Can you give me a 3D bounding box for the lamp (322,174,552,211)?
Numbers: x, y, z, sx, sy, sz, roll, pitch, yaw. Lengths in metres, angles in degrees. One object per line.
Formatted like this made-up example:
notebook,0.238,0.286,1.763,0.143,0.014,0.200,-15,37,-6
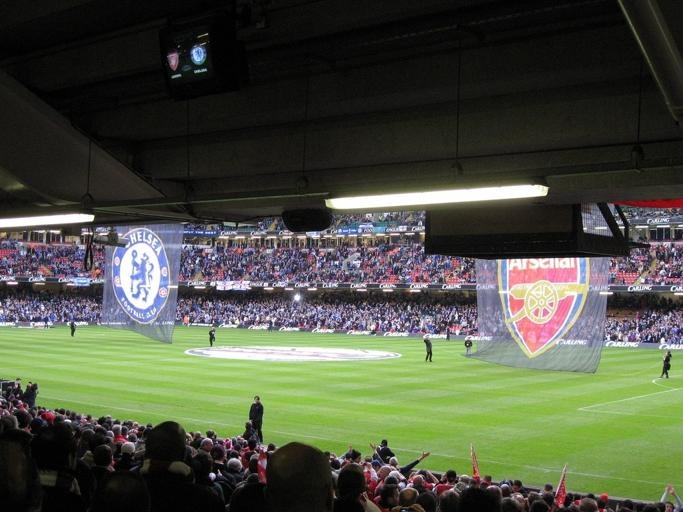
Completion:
lamp,1.118,-0.735,8.701,2.620,0.169,0.546,-5,-16,24
